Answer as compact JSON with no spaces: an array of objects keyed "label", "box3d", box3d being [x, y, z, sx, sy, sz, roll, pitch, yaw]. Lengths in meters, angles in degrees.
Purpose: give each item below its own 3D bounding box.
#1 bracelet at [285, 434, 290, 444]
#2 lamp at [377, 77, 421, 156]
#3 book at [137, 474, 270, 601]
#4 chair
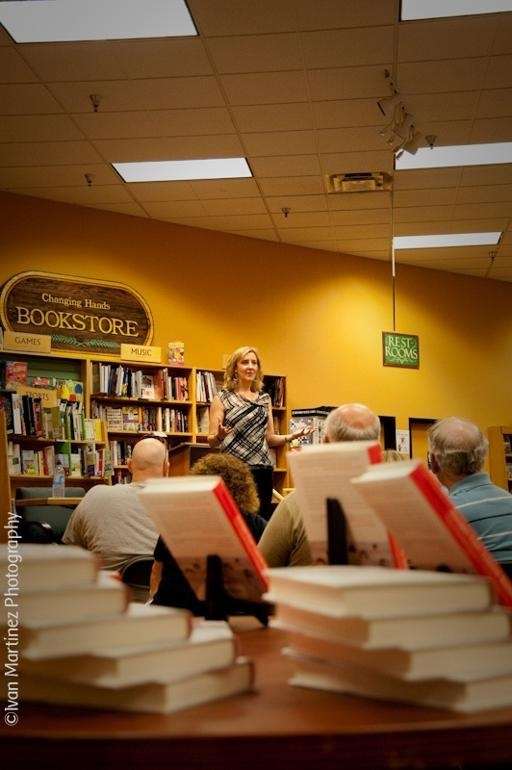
[{"label":"bracelet","box3d":[0.236,0.409,4.443,0.028,0.087,0.091,7,24,2]},{"label":"lamp","box3d":[1.268,-2.282,5.304,0.351,0.701,1.089,-2,0,15]},{"label":"book","box3d":[-0.067,0.203,0.843,0.048,0.199,0.188,-34,12,-31]},{"label":"chair","box3d":[-1.560,1.002,4.720,0.463,0.608,0.505,8,-19,-37]}]
